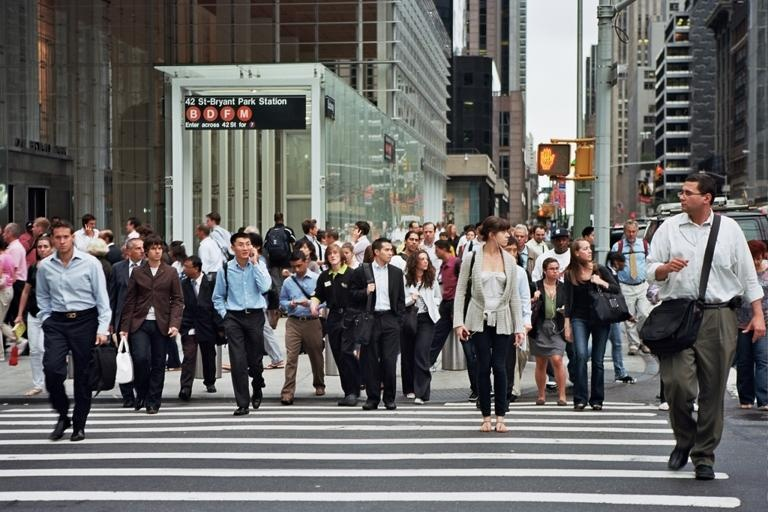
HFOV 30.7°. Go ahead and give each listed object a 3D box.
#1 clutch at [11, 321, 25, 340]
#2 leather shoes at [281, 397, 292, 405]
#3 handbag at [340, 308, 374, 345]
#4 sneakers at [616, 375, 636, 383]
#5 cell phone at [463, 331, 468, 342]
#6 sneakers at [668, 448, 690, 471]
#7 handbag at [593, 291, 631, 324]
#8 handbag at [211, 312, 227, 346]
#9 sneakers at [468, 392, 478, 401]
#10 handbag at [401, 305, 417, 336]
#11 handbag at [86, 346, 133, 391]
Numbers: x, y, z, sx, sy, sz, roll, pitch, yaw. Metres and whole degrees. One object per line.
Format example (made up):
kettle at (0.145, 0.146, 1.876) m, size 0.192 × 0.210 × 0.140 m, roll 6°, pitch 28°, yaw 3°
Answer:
clutch at (-8.101, 1.711, 30.632) m, size 0.128 × 0.385 × 0.380 m, roll 4°, pitch 6°, yaw 1°
leather shoes at (-2.051, 3.128, 29.398) m, size 0.228 × 0.159 × 0.118 m, roll 16°, pitch -7°, yaw -15°
handbag at (-0.528, 1.536, 29.025) m, size 0.646 × 0.873 × 0.365 m, roll 2°, pitch -15°, yaw 34°
sneakers at (5.351, 2.807, 30.794) m, size 0.424 × 0.203 × 0.172 m, roll 0°, pitch 5°, yaw 5°
cell phone at (1.621, 1.638, 27.323) m, size 0.034 × 0.147 × 0.145 m, roll -7°, pitch -6°, yaw 37°
sneakers at (5.409, 3.776, 25.455) m, size 0.251 × 0.598 × 0.212 m, roll 21°, pitch -8°, yaw -38°
handbag at (4.656, 1.122, 28.641) m, size 0.708 × 0.697 × 0.325 m, roll 1°, pitch -28°, yaw -34°
handbag at (-3.517, 1.645, 29.833) m, size 0.464 × 0.569 × 0.599 m, roll 0°, pitch 18°, yaw 2°
sneakers at (1.893, 3.049, 29.520) m, size 0.198 × 0.100 × 0.277 m, roll 0°, pitch -9°, yaw 6°
handbag at (0.535, 1.398, 29.268) m, size 0.293 × 0.580 × 0.569 m, roll 10°, pitch -4°, yaw -15°
handbag at (-5.379, 2.233, 27.179) m, size 0.950 × 0.984 × 0.422 m, roll 1°, pitch 6°, yaw -26°
